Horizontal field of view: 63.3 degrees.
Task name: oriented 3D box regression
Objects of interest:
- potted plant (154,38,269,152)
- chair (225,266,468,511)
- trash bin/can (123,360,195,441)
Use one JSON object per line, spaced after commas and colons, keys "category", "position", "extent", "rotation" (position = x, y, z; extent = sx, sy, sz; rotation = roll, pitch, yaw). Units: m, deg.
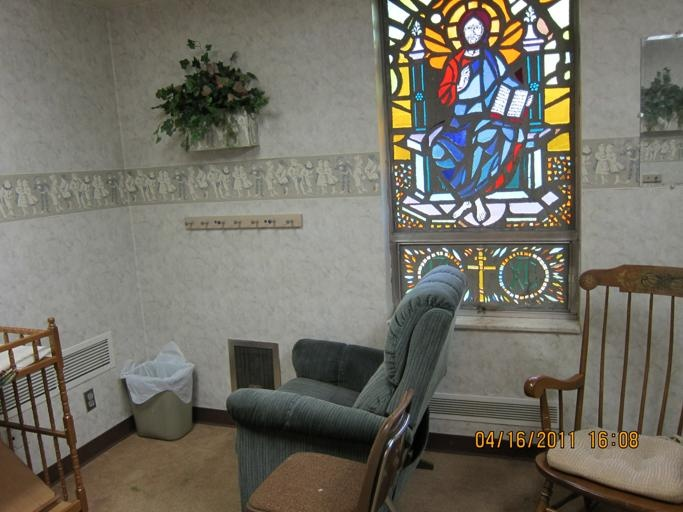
{"category": "potted plant", "position": [-0.788, -0.926, 3.493], "extent": [0.630, 0.819, 0.542], "rotation": [7, 3, 19]}
{"category": "chair", "position": [0.087, 0.587, 3.218], "extent": [1.311, 1.481, 1.221], "rotation": [1, 2, 19]}
{"category": "trash bin/can", "position": [-1.176, 0.963, 3.799], "extent": [0.502, 0.485, 0.453], "rotation": [-2, -4, 9]}
